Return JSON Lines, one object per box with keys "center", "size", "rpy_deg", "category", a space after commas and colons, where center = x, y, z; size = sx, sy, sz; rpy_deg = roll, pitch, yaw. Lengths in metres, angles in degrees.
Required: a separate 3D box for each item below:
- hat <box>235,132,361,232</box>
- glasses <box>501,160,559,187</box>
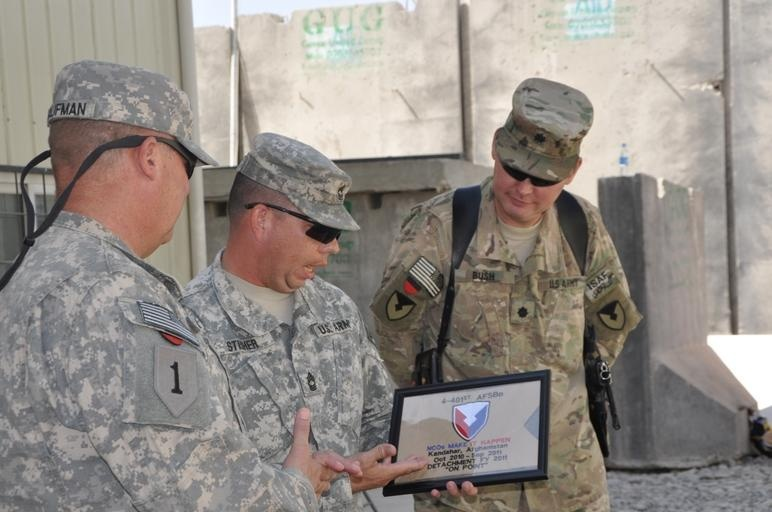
{"center": [-0.591, -0.550, 10.794], "size": [0.863, 0.316, 0.583], "rpy_deg": [30, 14, -2], "category": "hat"}
{"center": [1.087, -0.616, 11.265], "size": [0.420, 0.191, 0.066], "rpy_deg": [-1, 0, 4], "category": "glasses"}
